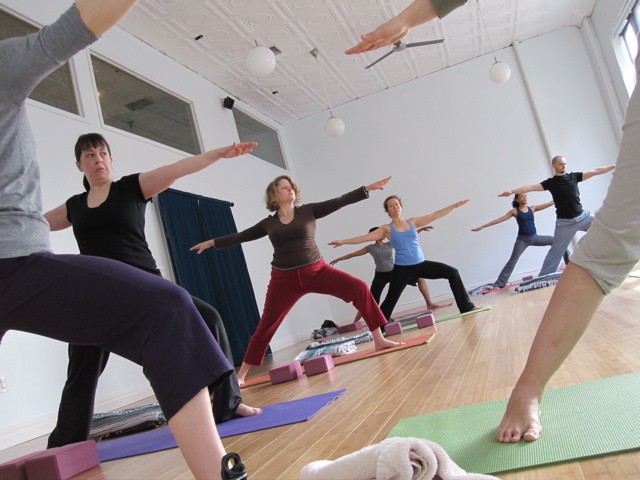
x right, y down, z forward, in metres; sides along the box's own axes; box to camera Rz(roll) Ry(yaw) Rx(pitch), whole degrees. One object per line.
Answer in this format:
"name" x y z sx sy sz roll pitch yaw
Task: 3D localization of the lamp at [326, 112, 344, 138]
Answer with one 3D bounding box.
"lamp" 0.302 -2.376 7.978 0.369 0.435 0.214 -15 3 0
